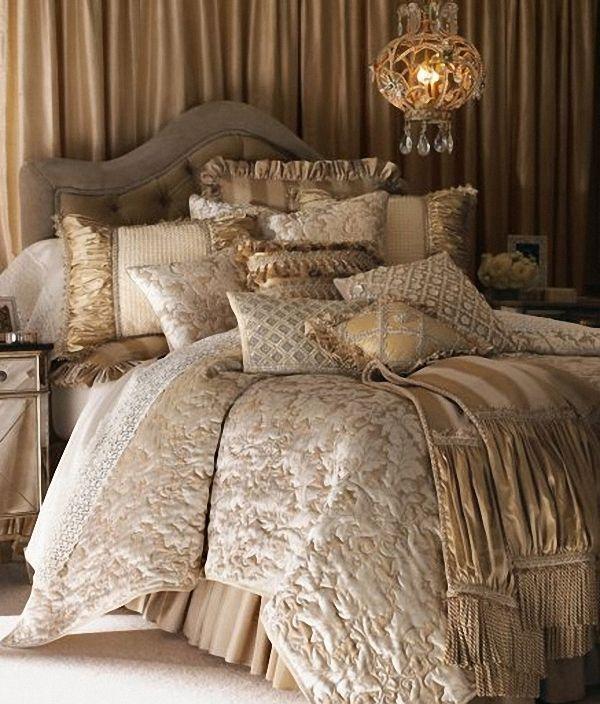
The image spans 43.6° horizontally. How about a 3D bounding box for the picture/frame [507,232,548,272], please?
[{"bbox_3d":[1.163,-0.507,3.831,0.270,0.241,0.019,3,-8,-15],"label":"picture/frame"}]
